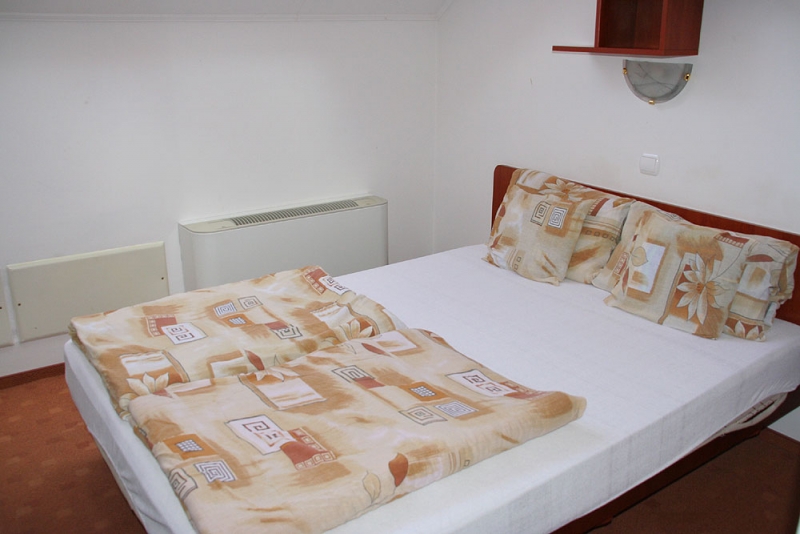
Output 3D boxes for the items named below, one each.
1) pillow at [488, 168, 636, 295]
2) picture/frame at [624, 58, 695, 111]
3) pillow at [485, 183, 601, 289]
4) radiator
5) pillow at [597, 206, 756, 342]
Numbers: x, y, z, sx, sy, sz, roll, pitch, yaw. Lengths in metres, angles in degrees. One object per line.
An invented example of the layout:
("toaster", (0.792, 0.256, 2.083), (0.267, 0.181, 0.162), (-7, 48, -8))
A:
("pillow", (0.961, -0.218, 2.985), (0.799, 0.635, 0.239), (26, 3, 42))
("picture/frame", (1.412, -0.984, 2.788), (0.332, 0.210, 0.035), (23, 34, 39))
("pillow", (0.878, -0.200, 3.020), (0.172, 0.530, 0.619), (17, 8, -39))
("radiator", (-0.695, -0.040, 3.821), (1.460, 0.809, 0.293), (-14, 21, -35))
("pillow", (1.389, 0.018, 2.549), (0.171, 0.607, 0.666), (9, 24, -42))
